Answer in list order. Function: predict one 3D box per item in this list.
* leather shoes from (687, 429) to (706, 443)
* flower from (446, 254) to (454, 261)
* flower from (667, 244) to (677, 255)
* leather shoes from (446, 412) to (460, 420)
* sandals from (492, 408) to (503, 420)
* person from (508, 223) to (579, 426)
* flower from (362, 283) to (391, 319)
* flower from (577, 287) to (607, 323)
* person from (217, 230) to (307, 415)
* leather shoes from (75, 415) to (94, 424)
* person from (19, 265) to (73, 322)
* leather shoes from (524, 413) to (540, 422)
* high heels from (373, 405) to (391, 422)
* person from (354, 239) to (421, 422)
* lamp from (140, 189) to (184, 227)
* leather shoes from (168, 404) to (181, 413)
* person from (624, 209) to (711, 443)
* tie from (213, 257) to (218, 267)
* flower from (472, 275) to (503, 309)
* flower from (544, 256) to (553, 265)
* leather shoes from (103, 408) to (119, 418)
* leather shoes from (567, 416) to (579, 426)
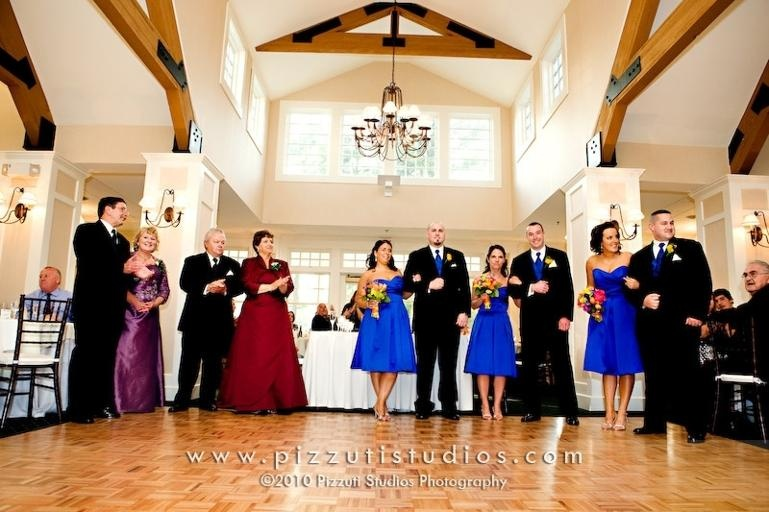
[{"bbox_3d":[3.076,1.762,5.267,0.204,0.122,0.085,1,-3,-3],"label":"leather shoes"},{"bbox_3d":[0.773,0.010,6.292,0.069,0.080,0.028,-2,-5,-24],"label":"flower"},{"bbox_3d":[2.919,-0.071,5.414,0.101,0.103,0.021,6,1,31],"label":"flower"},{"bbox_3d":[0.786,1.826,6.135,0.172,0.071,0.167,1,-2,5],"label":"leather shoes"},{"bbox_3d":[1.316,1.838,6.215,0.100,0.053,0.298,-4,-11,6],"label":"sandals"},{"bbox_3d":[1.795,0.738,6.050,0.760,2.245,0.309,0,-3,19],"label":"person"},{"bbox_3d":[-0.050,0.502,5.994,0.360,0.380,0.342,0,-17,2],"label":"flower"},{"bbox_3d":[2.194,0.512,5.720,0.302,0.340,0.330,-2,-4,-10],"label":"flower"},{"bbox_3d":[-1.360,0.733,6.228,0.863,2.025,0.312,2,-3,-21],"label":"person"},{"bbox_3d":[-3.069,1.679,5.489,0.210,0.094,0.073,2,-9,-2],"label":"leather shoes"},{"bbox_3d":[-4.429,0.484,6.948,0.465,0.891,0.312,-6,-25,-19],"label":"person"},{"bbox_3d":[1.665,1.819,6.018,0.227,0.094,0.077,5,-13,-14],"label":"leather shoes"},{"bbox_3d":[-0.010,1.762,6.051,0.181,0.175,0.369,1,-2,-1],"label":"high heels"},{"bbox_3d":[0.004,0.824,6.070,0.727,2.022,0.424,1,-3,2],"label":"person"},{"bbox_3d":[-3.293,-0.718,7.997,0.591,0.602,0.191,0,-16,2],"label":"lamp"},{"bbox_3d":[-2.425,1.779,6.232,0.093,0.078,0.154,0,-12,0],"label":"leather shoes"},{"bbox_3d":[2.872,0.696,5.501,0.626,2.278,0.805,8,-8,-35],"label":"person"},{"bbox_3d":[-2.051,0.053,6.531,0.056,0.079,0.023,9,-14,-17],"label":"tie"},{"bbox_3d":[1.195,0.407,6.186,0.317,0.409,0.237,1,-3,10],"label":"flower"},{"bbox_3d":[1.873,0.043,6.067,0.075,0.032,0.087,-5,-25,35],"label":"flower"},{"bbox_3d":[-2.917,1.673,5.711,0.192,0.086,0.062,6,-3,-14],"label":"leather shoes"},{"bbox_3d":[2.090,1.815,5.915,0.133,0.134,0.077,-5,-6,32],"label":"leather shoes"}]
